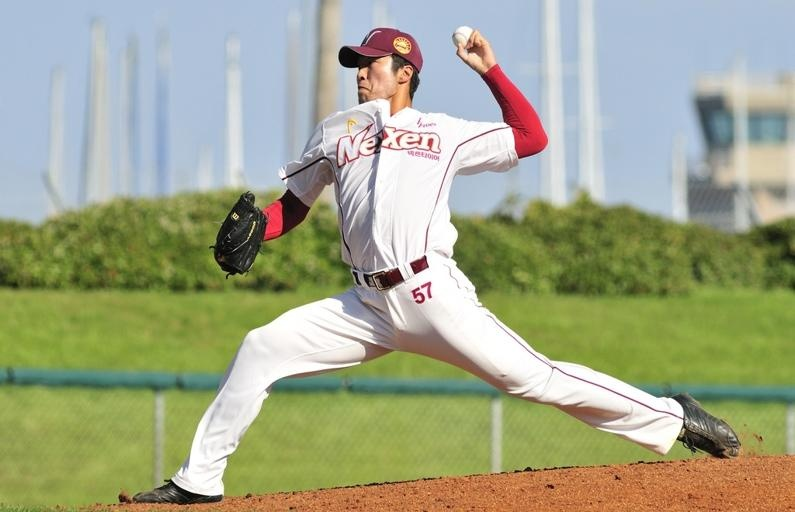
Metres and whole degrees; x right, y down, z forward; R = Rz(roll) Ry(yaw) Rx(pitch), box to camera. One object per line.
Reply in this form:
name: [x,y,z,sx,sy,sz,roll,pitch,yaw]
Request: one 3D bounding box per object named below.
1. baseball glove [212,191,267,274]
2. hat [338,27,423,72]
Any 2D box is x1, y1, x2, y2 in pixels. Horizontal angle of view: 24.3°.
baseball glove: [-1.495,-0.242,17.535,0.492,0.786,0.269,8,6,21]
hat: [-0.152,-2.015,17.697,0.777,0.433,0.565,4,-6,-30]
